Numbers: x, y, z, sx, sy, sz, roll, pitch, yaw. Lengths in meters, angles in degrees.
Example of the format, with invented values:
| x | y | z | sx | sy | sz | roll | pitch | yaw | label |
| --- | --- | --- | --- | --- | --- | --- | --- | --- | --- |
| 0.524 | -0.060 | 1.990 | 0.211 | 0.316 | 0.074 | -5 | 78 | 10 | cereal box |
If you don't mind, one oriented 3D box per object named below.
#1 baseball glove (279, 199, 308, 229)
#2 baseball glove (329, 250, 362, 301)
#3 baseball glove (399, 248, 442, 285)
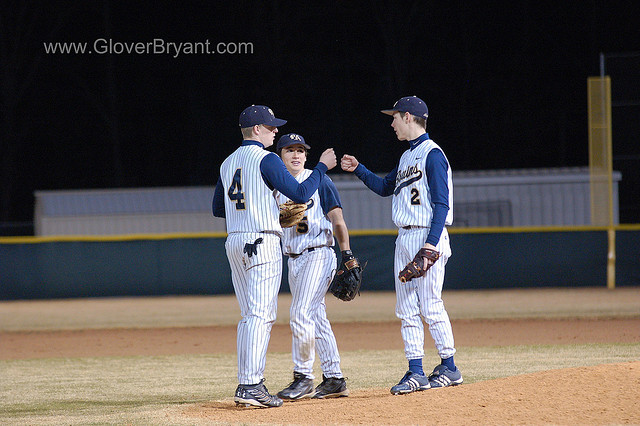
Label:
| x | y | z | sx | sy | sz | roll | pitch | yaw | label |
| --- | --- | --- | --- | --- | --- | --- | --- | --- | --- |
| -0.427 | 0.026 | 19.192 | 0.341 | 0.455 | 0.179 | 14 | 2 | 8 | baseball glove |
| 0.444 | 0.996 | 19.620 | 0.490 | 0.757 | 0.299 | 3 | 5 | 3 | baseball glove |
| 1.516 | 0.795 | 18.958 | 0.616 | 0.372 | 0.223 | -43 | 30 | -5 | baseball glove |
